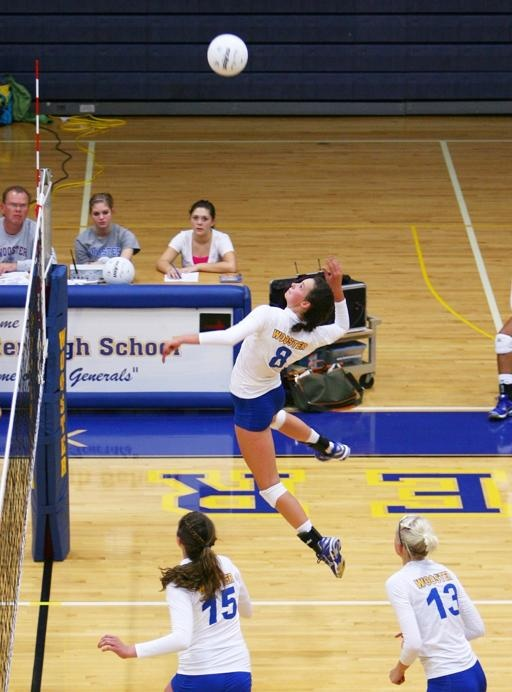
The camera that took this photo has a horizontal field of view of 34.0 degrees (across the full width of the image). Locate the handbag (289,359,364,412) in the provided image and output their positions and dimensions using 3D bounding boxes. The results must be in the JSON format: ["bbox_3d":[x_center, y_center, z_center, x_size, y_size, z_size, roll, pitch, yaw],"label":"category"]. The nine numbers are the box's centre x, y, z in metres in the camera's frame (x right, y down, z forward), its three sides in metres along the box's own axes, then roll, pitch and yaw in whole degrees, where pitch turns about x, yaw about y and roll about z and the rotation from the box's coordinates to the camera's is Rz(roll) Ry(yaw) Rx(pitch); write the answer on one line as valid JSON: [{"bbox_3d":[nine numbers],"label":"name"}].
[{"bbox_3d":[0.560,0.341,6.903,0.527,0.264,0.569,-3,22,-30],"label":"handbag"}]

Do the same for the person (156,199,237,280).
[{"bbox_3d":[-0.529,-0.701,7.749,0.774,1.170,0.654,3,23,0],"label":"person"}]

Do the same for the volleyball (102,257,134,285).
[{"bbox_3d":[-1.088,-0.615,6.785,0.212,0.236,0.225,9,38,-8],"label":"volleyball"}]

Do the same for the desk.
[{"bbox_3d":[-0.784,-0.004,6.545,2.282,0.885,0.968,1,22,-9],"label":"desk"}]
